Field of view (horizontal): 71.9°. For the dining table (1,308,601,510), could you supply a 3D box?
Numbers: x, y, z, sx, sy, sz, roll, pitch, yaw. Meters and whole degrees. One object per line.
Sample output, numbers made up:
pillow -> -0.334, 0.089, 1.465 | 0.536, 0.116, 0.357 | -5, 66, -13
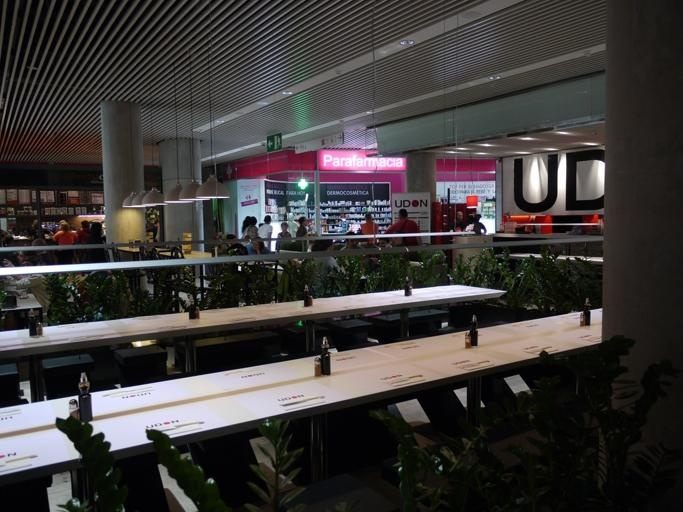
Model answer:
dining table -> -0.044, 0.691, 2.740 | 3.344, 0.228, 0.881 | -8, 7, -27
